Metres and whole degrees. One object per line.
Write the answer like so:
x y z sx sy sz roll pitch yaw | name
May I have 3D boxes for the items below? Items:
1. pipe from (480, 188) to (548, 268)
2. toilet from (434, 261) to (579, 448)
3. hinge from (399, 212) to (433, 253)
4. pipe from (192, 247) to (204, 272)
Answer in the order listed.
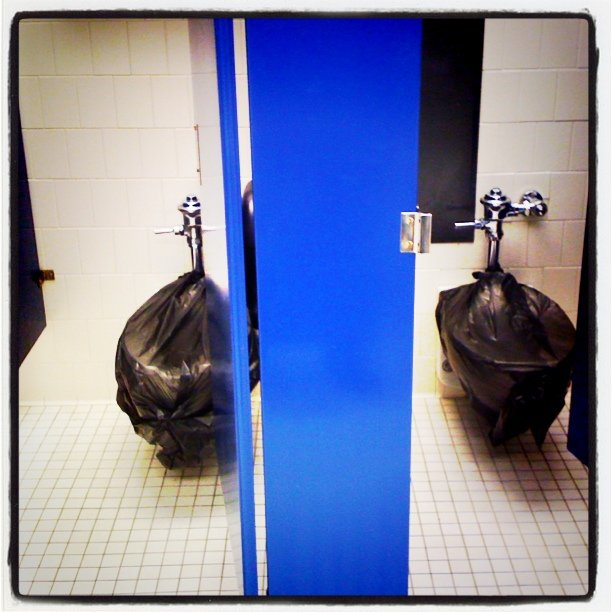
0.719 -0.267 2.289 0.260 0.287 0.141 -4 20 -7 | pipe
0.664 0.176 2.202 0.434 0.480 0.442 2 20 8 | toilet
0.185 -0.131 1.141 0.040 0.054 0.058 3 3 41 | hinge
-0.382 -0.166 2.313 0.033 0.103 0.105 -7 21 -14 | pipe
